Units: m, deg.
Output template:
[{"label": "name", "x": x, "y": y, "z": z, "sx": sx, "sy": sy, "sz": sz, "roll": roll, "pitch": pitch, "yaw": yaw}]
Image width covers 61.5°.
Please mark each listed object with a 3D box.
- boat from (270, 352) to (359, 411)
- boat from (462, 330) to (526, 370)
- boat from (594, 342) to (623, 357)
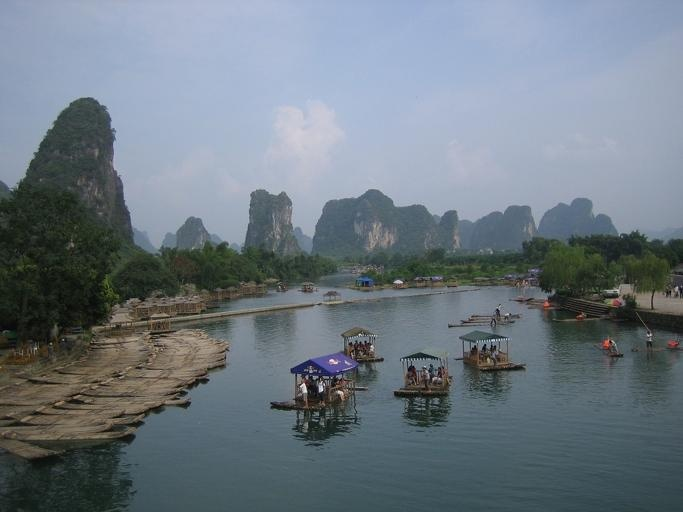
[{"label": "boat", "x": -1.279, "y": 10.762, "z": 49.641, "sx": 3.467, "sy": 2.791, "sz": 7.377, "roll": -3, "pitch": -5, "yaw": 23}, {"label": "boat", "x": 14.762, "y": 9.796, "z": 59.425, "sx": 3.551, "sy": 2.180, "sz": 5.994, "roll": -1, "pitch": 7, "yaw": -9}, {"label": "boat", "x": 28.910, "y": 10.056, "z": 60.960, "sx": 1.400, "sy": 0.799, "sz": 1.912, "roll": 1, "pitch": 3, "yaw": 4}]
